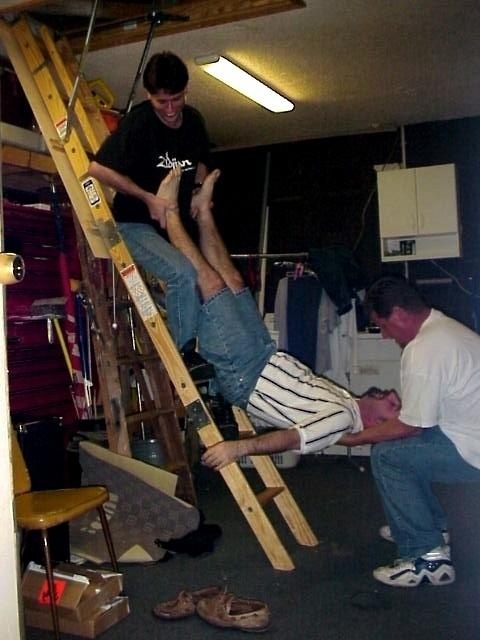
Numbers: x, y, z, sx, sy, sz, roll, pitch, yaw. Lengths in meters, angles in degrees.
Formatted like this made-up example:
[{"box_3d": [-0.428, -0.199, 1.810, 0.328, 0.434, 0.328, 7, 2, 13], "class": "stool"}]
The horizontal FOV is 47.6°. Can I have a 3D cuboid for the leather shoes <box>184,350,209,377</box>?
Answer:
[{"box_3d": [-0.170, 0.173, 2.137, 0.096, 0.110, 0.136, -1, -2, -10], "class": "leather shoes"}]

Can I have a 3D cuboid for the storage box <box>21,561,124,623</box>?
[{"box_3d": [-0.578, 0.915, 1.883, 0.272, 0.158, 0.269, -3, -5, 24], "class": "storage box"}]

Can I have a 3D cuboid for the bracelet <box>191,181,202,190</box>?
[{"box_3d": [-0.195, -0.608, 2.452, 0.056, 0.050, 0.013, -10, 41, -12], "class": "bracelet"}]

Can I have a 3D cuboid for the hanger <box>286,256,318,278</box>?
[{"box_3d": [0.451, -0.395, 4.248, 0.316, 0.130, 0.104, 1, 15, 45], "class": "hanger"}]

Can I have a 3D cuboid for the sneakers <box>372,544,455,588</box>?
[{"box_3d": [0.663, 0.969, 2.117, 0.362, 0.169, 0.117, -2, -24, 7], "class": "sneakers"}]
